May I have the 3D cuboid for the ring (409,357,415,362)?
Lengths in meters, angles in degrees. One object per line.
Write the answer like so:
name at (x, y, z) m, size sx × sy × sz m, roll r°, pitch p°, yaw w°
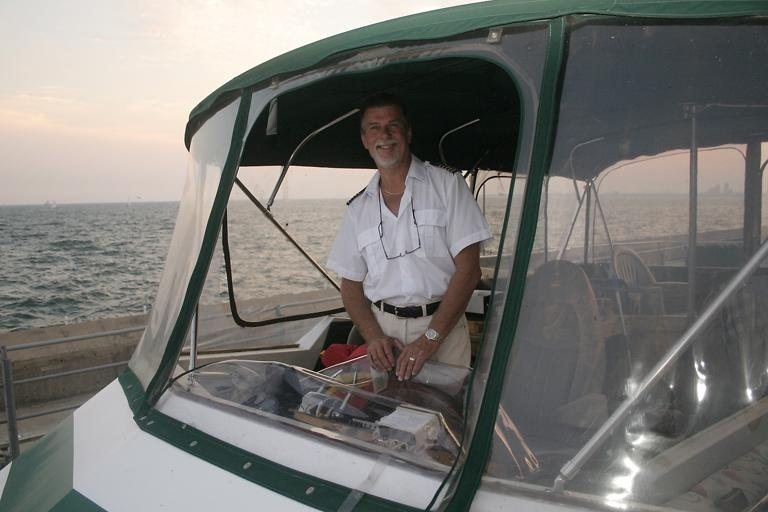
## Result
ring at (0.113, 0.413, 2.331) m, size 0.014 × 0.014 × 0.014 m, roll 8°, pitch -9°, yaw 1°

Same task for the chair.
chair at (0.466, 0.294, 1.690) m, size 0.332 × 0.477 × 0.391 m, roll 2°, pitch 1°, yaw 19°

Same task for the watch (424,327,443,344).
watch at (0.208, 0.335, 2.554) m, size 0.072 × 0.045 × 0.070 m, roll 27°, pitch -9°, yaw 24°
